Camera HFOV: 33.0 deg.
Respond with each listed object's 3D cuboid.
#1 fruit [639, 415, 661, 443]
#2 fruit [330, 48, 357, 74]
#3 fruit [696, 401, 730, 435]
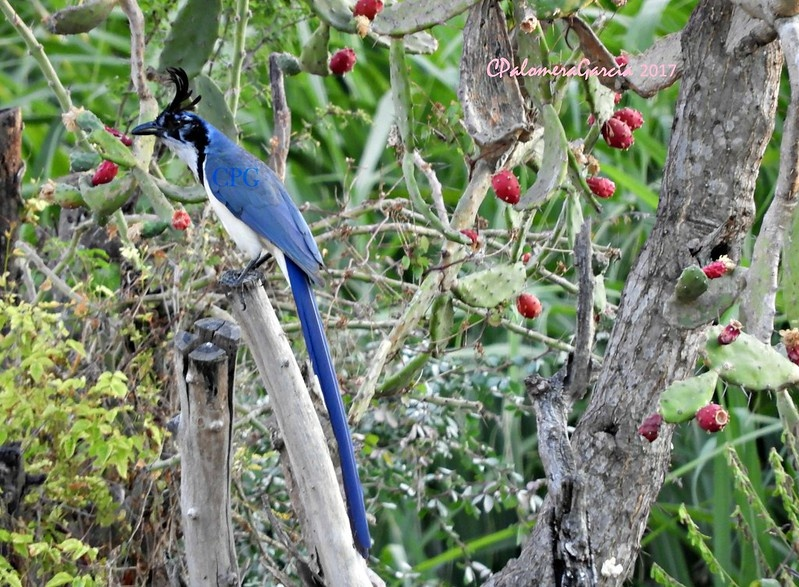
[{"bbox_3d":[1.137,0.615,6.128,0.077,0.128,0.038,19,-15,-3],"label":"fruit"},{"bbox_3d":[-0.298,-1.129,7.025,0.083,0.104,0.139,-45,10,1],"label":"fruit"},{"bbox_3d":[1.397,0.561,6.029,0.107,0.123,0.117,-4,-5,-31],"label":"fruit"}]
